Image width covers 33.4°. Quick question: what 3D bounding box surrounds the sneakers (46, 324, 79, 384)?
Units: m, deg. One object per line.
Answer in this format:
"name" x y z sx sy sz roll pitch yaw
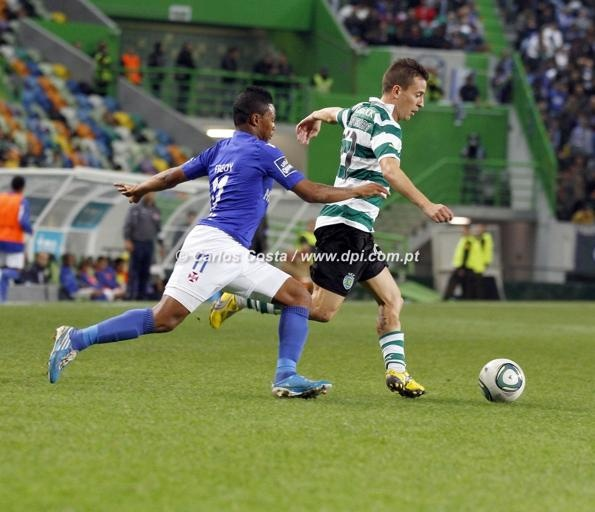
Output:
"sneakers" -1.447 0.599 6.134 0.211 0.359 0.138 10 -2 -5

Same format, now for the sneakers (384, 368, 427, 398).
"sneakers" 0.709 0.811 6.333 0.243 0.108 0.144 26 -13 -14

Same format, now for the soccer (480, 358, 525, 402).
"soccer" 1.295 0.795 6.268 0.214 0.184 0.202 -34 12 -6

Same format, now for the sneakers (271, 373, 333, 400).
"sneakers" 0.016 0.815 6.205 0.381 0.125 0.131 -4 -18 9
